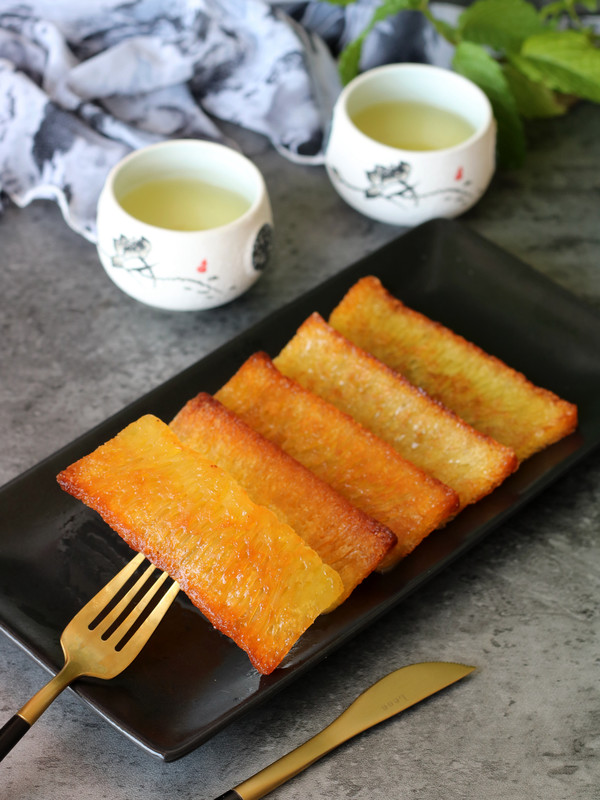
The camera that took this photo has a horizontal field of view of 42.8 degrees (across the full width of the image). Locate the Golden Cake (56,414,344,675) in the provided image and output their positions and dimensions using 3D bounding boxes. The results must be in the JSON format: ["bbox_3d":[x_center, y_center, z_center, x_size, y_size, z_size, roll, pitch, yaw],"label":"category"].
[{"bbox_3d":[-0.101,0.136,0.772,0.322,0.055,0.149,37,64,26],"label":"Golden Cake"}]

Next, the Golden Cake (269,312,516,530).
[{"bbox_3d":[0.084,0.014,0.910,0.309,0.049,0.150,38,58,19],"label":"Golden Cake"}]

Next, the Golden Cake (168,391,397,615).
[{"bbox_3d":[-0.029,0.103,0.824,0.258,0.060,0.130,40,46,12],"label":"Golden Cake"}]

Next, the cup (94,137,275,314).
[{"bbox_3d":[-0.159,-0.243,1.052,0.230,0.133,0.214,3,59,-5],"label":"cup"}]

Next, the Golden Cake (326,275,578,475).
[{"bbox_3d":[0.177,-0.026,0.988,0.323,0.053,0.156,37,63,25],"label":"Golden Cake"}]

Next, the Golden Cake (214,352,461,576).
[{"bbox_3d":[0.028,0.072,0.886,0.286,0.054,0.156,37,60,19],"label":"Golden Cake"}]
